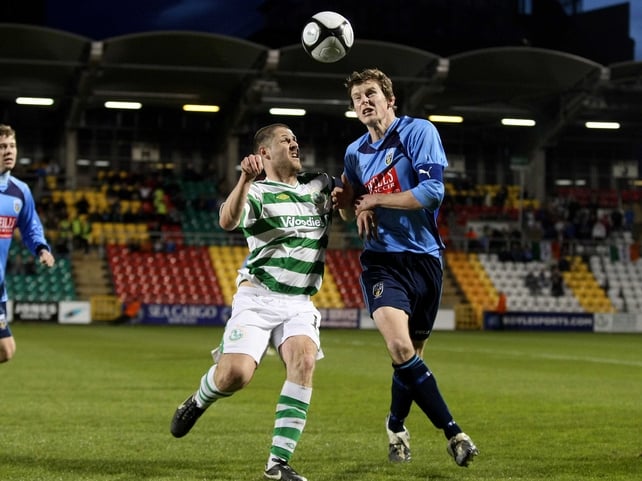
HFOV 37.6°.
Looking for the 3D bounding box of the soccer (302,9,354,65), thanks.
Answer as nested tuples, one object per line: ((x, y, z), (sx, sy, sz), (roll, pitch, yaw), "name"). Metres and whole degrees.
((0.046, -2.828, 13.322), (0.720, 0.724, 0.696), (-21, -2, -4), "soccer")

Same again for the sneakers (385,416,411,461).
((0.976, 2.455, 11.822), (0.205, 0.562, 0.250), (-3, -12, -4), "sneakers")

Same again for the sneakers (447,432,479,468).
((1.717, 2.502, 11.305), (0.230, 0.246, 0.475), (31, -1, -5), "sneakers")
